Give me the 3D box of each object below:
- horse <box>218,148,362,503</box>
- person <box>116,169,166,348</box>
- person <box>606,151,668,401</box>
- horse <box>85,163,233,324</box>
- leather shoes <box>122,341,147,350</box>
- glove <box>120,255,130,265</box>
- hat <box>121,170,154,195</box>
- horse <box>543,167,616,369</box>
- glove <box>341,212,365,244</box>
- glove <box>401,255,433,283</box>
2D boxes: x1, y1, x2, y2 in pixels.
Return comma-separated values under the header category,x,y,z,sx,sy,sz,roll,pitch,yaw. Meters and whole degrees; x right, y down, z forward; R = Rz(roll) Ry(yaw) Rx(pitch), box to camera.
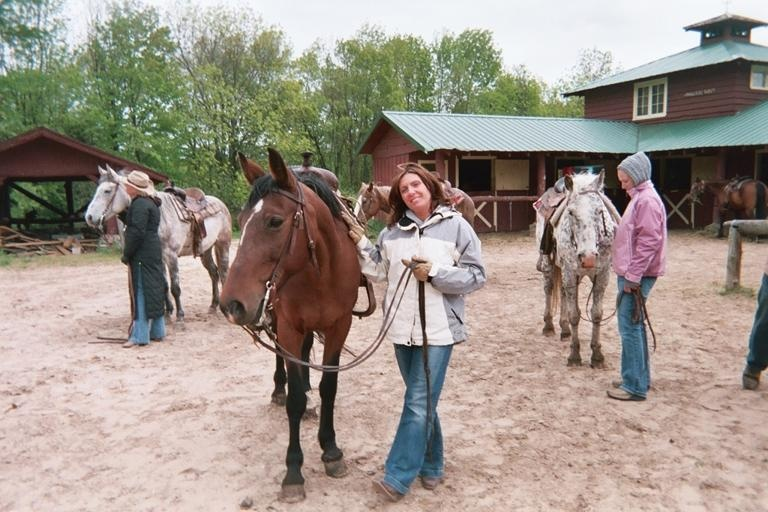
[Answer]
category,x,y,z,sx,sy,sz,roll,pitch,yaw
horse,-1.026,0.804,7.140,1.652,4.035,0.555,-6,8,-36
person,-4.036,0.046,10.261,0.593,2.918,0.682,1,7,18
person,3.459,0.301,8.321,0.701,3.349,0.495,1,7,18
horse,-4.017,-0.146,11.809,1.065,2.813,3.649,1,4,24
leather shoes,-4.181,1.508,10.238,0.393,0.173,0.132,6,-3,-26
glove,-4.293,0.109,10.132,0.141,0.199,0.069,0,14,-11
hat,-4.130,-1.156,10.364,0.477,0.182,0.422,26,11,-38
horse,3.017,0.161,9.650,0.967,2.923,2.263,0,6,8
glove,-0.362,-0.325,7.422,0.148,0.305,0.357,-35,-28,15
glove,0.377,0.150,6.962,0.330,0.302,0.214,-1,6,0
